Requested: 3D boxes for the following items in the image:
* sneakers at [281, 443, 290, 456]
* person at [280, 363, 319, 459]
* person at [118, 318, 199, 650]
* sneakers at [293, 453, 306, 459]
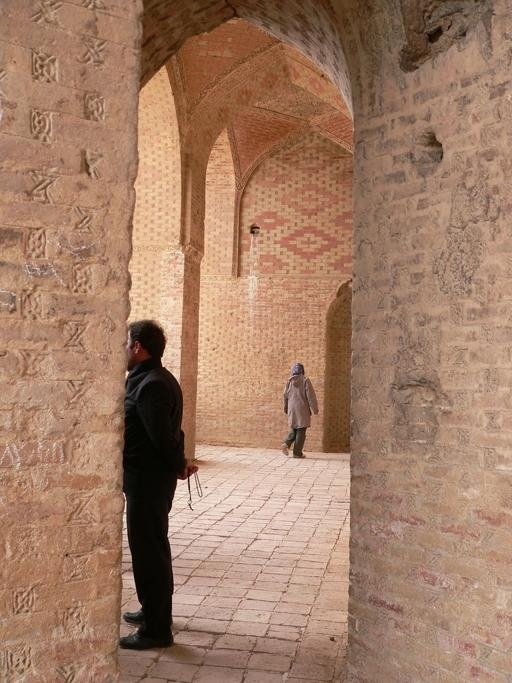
[{"bbox_3d":[0.526,1.900,11.076,0.094,0.230,0.100,-6,8,1],"label":"sneakers"},{"bbox_3d":[0.741,1.193,10.940,0.570,1.624,0.998,-1,-3,1],"label":"person"},{"bbox_3d":[-0.514,0.742,3.376,0.393,1.732,0.365,0,-3,-5],"label":"person"},{"bbox_3d":[0.754,1.981,10.970,0.222,0.088,0.073,-1,3,-1],"label":"sneakers"}]
